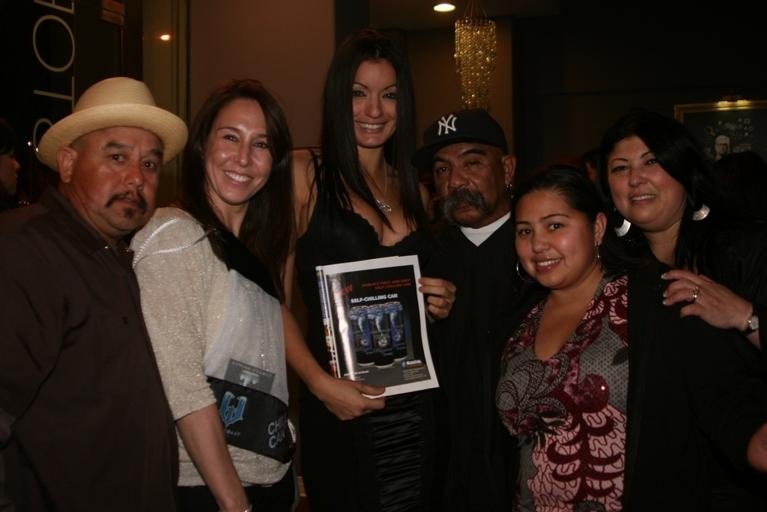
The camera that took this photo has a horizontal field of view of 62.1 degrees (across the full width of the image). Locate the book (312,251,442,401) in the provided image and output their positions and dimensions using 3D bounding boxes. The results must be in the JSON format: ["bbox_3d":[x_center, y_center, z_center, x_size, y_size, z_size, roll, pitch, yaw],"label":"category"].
[{"bbox_3d":[-0.056,0.337,2.978,0.654,0.820,0.085,-7,1,-15],"label":"book"}]

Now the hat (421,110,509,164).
[{"bbox_3d":[0.444,-0.716,3.608,0.428,0.193,0.305,4,-12,-27],"label":"hat"}]

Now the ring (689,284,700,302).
[{"bbox_3d":[1.363,0.166,2.779,0.021,0.060,0.046,8,23,15],"label":"ring"}]

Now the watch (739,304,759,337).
[{"bbox_3d":[1.570,0.272,2.725,0.109,0.103,0.039,-36,9,-40],"label":"watch"}]
